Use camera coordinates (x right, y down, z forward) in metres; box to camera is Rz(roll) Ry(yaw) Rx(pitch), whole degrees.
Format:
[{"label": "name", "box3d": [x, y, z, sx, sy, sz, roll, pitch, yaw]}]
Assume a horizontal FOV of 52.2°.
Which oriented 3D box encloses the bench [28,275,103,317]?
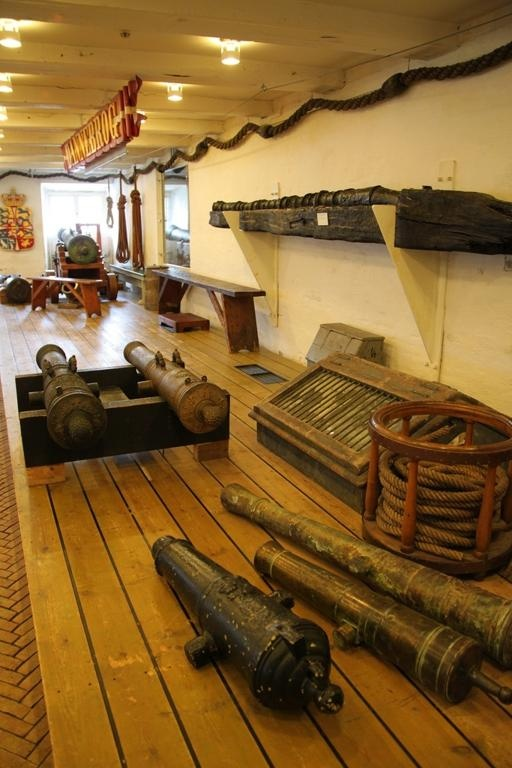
[{"label": "bench", "box3d": [-3.629, -1.683, 9.888, 1.159, 0.697, 2.315, -3, 11, -23]}]
